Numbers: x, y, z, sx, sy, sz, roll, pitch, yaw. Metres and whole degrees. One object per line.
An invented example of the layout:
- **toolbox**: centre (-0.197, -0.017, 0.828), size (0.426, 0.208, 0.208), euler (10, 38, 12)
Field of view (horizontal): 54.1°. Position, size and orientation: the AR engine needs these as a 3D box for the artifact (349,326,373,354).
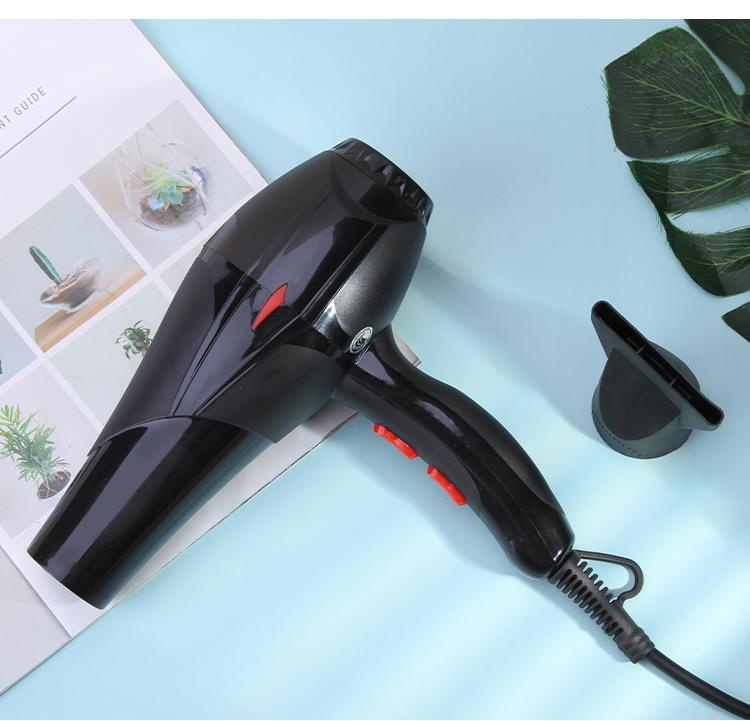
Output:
- **artifact**: centre (-0.011, -0.015, 0.564), size (0.005, 0.019, 0.021), euler (43, 21, 19)
